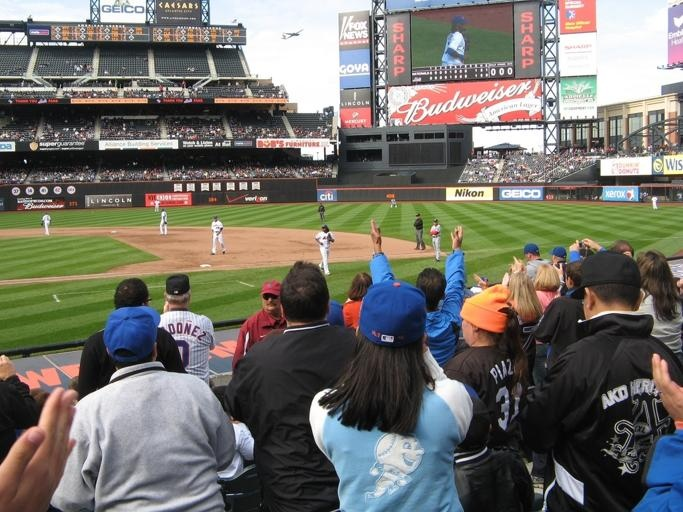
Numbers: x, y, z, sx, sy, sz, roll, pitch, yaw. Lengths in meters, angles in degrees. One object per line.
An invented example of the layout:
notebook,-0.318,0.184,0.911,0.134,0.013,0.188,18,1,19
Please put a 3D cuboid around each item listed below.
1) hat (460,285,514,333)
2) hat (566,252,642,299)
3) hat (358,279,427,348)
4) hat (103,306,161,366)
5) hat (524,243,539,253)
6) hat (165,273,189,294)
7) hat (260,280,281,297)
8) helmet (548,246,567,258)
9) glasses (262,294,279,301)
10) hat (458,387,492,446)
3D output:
hat,1.155,0.386,4.795,0.442,0.347,0.309,12,6,35
hat,1.813,0.095,4.270,0.358,0.241,0.222,-1,1,19
hat,0.319,0.263,3.843,0.449,0.307,0.601,2,24,-1
hat,-1.449,0.461,4.376,0.383,0.222,0.582,-3,28,-10
hat,3.102,-0.104,10.460,0.189,0.137,0.241,-7,18,-21
hat,-1.758,0.314,6.773,0.223,0.210,0.138,-2,1,-27
hat,-0.767,0.356,6.970,0.232,0.172,0.338,-2,1,6
helmet,3.507,-0.024,10.206,0.213,0.156,0.274,10,27,16
glasses,-0.791,0.457,6.995,0.097,0.027,0.099,3,-19,10
hat,0.840,1.017,3.981,0.180,0.450,0.306,-1,1,10
